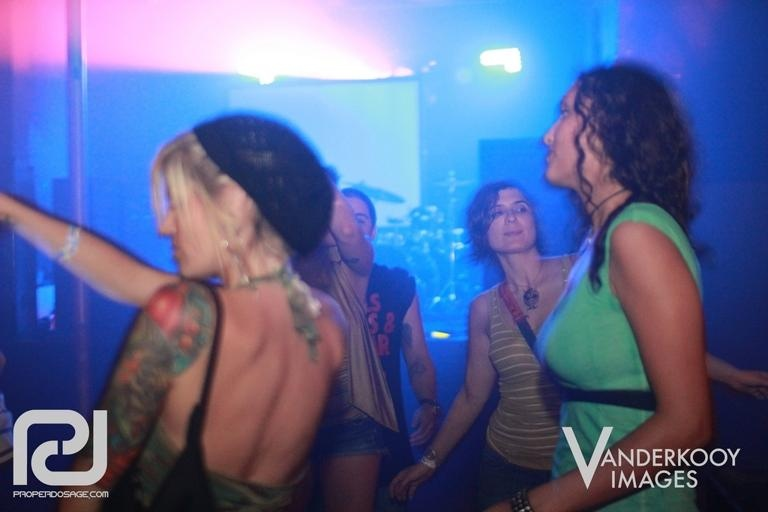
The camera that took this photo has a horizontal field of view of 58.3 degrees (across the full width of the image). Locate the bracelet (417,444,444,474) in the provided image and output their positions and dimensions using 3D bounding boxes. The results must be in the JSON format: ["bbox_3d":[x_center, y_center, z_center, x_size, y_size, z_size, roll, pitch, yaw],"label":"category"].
[{"bbox_3d":[0.236,1.049,3.556,0.095,0.122,0.122,31,-15,-1],"label":"bracelet"}]

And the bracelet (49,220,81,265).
[{"bbox_3d":[-1.209,-0.058,2.673,0.100,0.140,0.034,46,-12,17],"label":"bracelet"}]

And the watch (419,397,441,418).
[{"bbox_3d":[0.254,0.838,3.822,0.092,0.047,0.088,31,-11,-35],"label":"watch"}]

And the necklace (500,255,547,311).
[{"bbox_3d":[0.748,0.140,3.613,0.199,0.271,0.071,0,-7,19],"label":"necklace"}]
